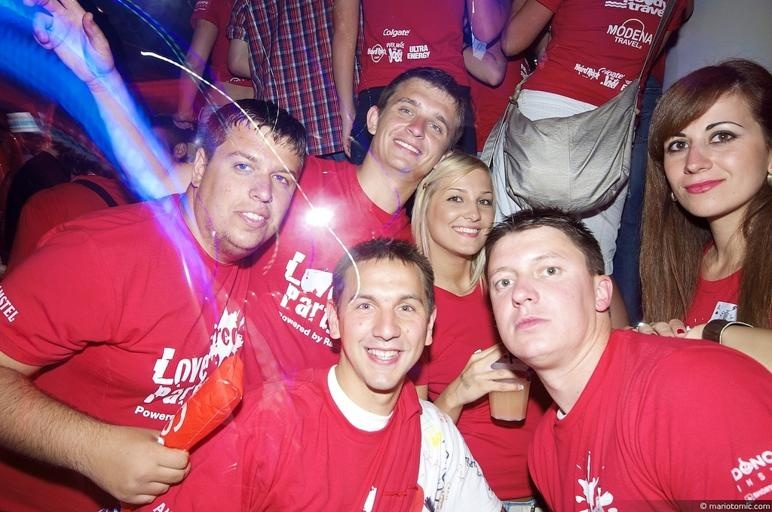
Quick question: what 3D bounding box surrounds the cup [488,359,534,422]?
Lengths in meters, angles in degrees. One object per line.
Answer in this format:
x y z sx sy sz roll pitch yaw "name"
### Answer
0.813 0.866 3.654 0.331 0.430 0.346 1 -10 0 "cup"
